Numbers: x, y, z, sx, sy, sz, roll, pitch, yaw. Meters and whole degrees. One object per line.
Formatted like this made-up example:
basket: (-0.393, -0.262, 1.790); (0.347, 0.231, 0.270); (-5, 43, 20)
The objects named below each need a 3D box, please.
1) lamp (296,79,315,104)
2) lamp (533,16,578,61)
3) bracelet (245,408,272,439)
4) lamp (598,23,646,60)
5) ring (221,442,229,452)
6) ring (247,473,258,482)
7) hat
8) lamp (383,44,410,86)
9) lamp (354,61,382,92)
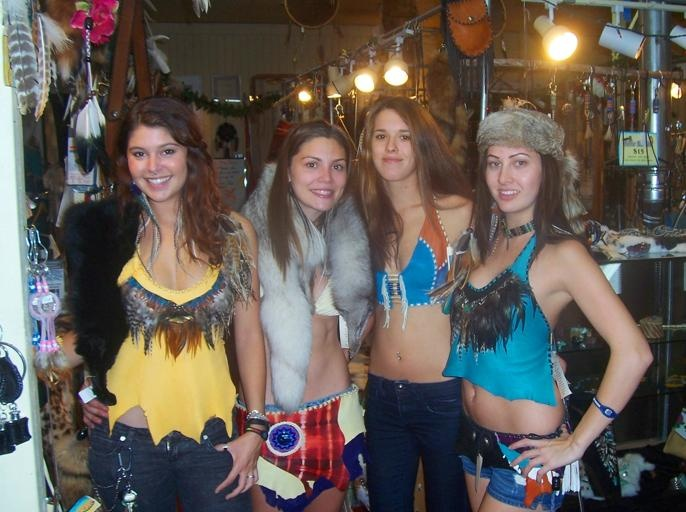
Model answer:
lamp: (-0.442, -1.925, 7.141); (0.186, 0.242, 0.291); (-3, -1, -7)
lamp: (1.461, -1.510, 4.209); (0.251, 0.317, 0.231); (-3, -1, -34)
bracelet: (-0.355, 0.702, 2.557); (0.083, 0.122, 0.063); (-7, 3, -13)
lamp: (1.966, -1.534, 4.324); (0.381, 0.269, 0.201); (-3, -1, -30)
ring: (-0.481, 0.775, 2.469); (0.024, 0.022, 0.024); (-6, 2, 0)
ring: (-0.375, 0.910, 2.511); (0.044, 0.027, 0.063); (4, 9, -13)
hat: (0.788, -0.552, 2.678); (0.258, 0.156, 0.242); (9, 15, 9)
lamp: (0.453, -1.658, 5.305); (0.198, 0.318, 0.294); (-4, -1, 5)
lamp: (0.215, -1.685, 5.740); (0.232, 0.245, 0.236); (-4, -1, 4)
